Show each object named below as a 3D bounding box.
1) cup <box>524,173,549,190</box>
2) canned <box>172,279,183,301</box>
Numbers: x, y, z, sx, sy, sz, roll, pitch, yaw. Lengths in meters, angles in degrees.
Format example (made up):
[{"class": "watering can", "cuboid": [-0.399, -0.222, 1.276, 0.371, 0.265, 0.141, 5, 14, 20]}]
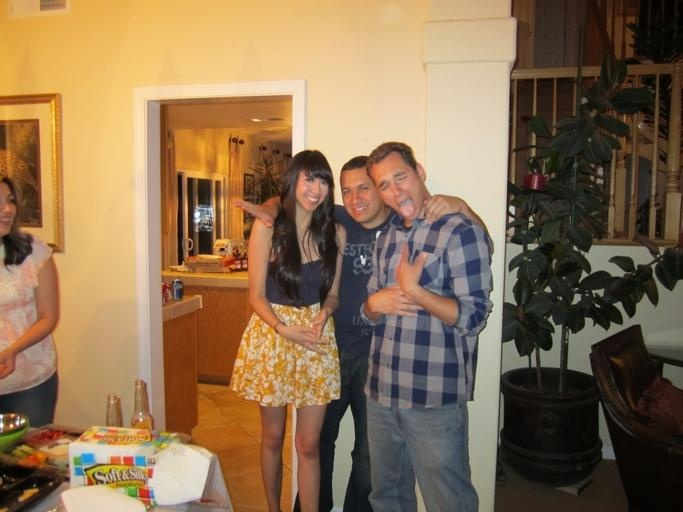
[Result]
[{"class": "cup", "cuboid": [1.211, -0.467, 3.430, 0.106, 0.079, 0.108, 11, 17, -3]}, {"class": "canned", "cuboid": [-1.266, 0.258, 4.252, 0.094, 0.149, 0.105, 1, 2, 30]}]
